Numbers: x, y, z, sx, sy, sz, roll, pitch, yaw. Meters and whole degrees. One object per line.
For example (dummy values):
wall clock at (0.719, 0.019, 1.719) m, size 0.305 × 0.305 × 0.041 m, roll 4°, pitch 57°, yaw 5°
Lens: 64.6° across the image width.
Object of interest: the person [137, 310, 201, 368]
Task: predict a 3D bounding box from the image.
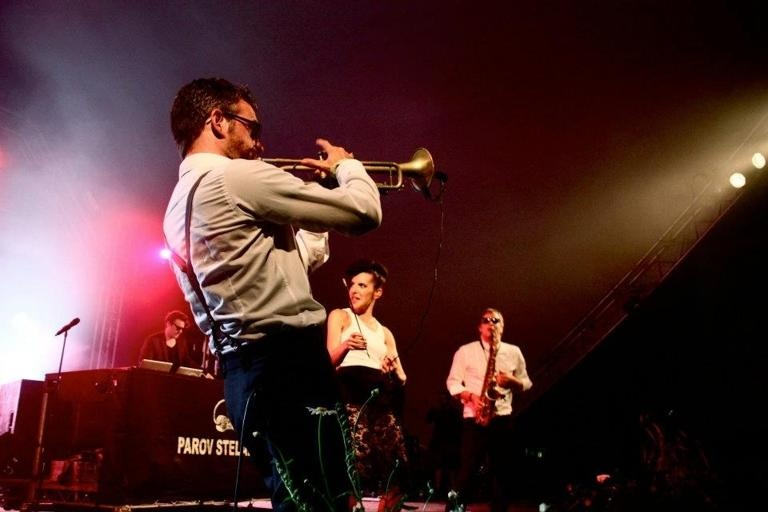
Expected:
person at (-3.619, 1.645, 10.258) m, size 0.959 × 1.467 × 0.770 m, roll -3°, pitch -4°, yaw -17°

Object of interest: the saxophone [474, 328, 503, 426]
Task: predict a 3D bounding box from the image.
saxophone at (1.442, 1.698, 8.436) m, size 0.342 × 1.234 × 0.332 m, roll 2°, pitch 1°, yaw 4°
